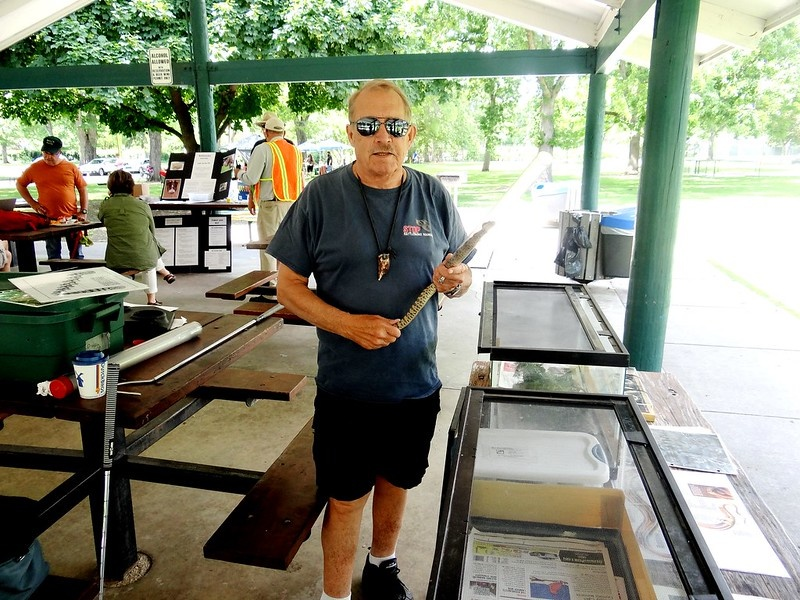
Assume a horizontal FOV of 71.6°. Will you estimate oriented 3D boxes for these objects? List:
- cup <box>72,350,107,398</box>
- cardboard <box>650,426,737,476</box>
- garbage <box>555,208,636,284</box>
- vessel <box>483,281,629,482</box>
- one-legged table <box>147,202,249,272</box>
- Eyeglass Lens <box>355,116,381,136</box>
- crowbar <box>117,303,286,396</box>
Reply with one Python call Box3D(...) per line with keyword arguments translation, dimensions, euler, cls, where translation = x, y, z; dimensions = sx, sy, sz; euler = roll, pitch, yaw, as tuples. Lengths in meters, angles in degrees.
Box3D(translation=(-1.271, 0.313, 2.275), dimensions=(0.142, 0.156, 0.140), euler=(6, 18, -2), cls="cup")
Box3D(translation=(1.403, 0.722, 2.659), dimensions=(0.402, 0.046, 0.426), euler=(1, 17, 7), cls="cardboard")
Box3D(translation=(2.776, -0.733, 8.240), dimensions=(1.206, 0.894, 1.117), euler=(3, 16, 8), cls="garbage")
Box3D(translation=(0.708, 0.195, 2.663), dimensions=(0.622, 0.386, 1.388), euler=(3, 15, 9), cls="vessel")
Box3D(translation=(-3.393, -1.037, 9.383), dimensions=(1.258, 1.021, 1.453), euler=(1, 9, 6), cls="one-legged table")
Box3D(translation=(-0.130, -0.694, 2.239), dimensions=(0.101, 0.078, 0.046), euler=(2, 15, 2), cls="Eyeglass Lens")
Box3D(translation=(-0.813, 0.232, 3.057), dimensions=(0.217, 0.057, 1.527), euler=(28, 28, 26), cls="crowbar")
